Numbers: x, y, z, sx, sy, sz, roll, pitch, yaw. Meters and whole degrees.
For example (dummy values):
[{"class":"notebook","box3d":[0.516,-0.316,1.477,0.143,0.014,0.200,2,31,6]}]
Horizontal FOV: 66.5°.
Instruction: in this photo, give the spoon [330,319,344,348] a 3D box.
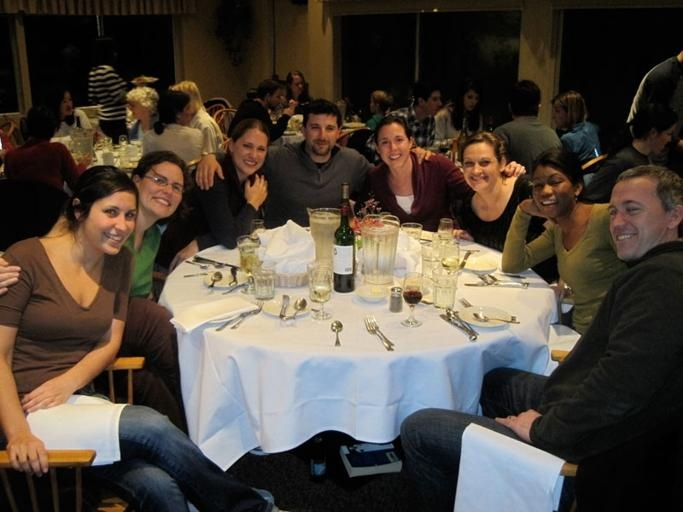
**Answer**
[{"class":"spoon","box3d":[-0.018,0.291,1.921,0.027,0.019,0.122,-1,25,-5]}]

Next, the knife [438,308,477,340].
[{"class":"knife","box3d":[0.451,0.253,1.995,0.050,0.015,0.179,-9,23,-18]}]

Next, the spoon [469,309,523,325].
[{"class":"spoon","box3d":[0.596,0.239,2.026,0.197,0.039,0.062,12,21,34]}]

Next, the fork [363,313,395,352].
[{"class":"fork","box3d":[0.137,0.288,1.924,0.041,0.034,0.218,-5,29,-12]}]

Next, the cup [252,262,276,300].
[{"class":"cup","box3d":[-0.325,0.102,2.185,0.113,0.178,0.121,1,10,0]}]

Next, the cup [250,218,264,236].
[{"class":"cup","box3d":[-0.421,-0.148,2.612,0.080,0.124,0.082,1,3,0]}]

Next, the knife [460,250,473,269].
[{"class":"knife","box3d":[0.628,0.008,2.613,0.038,0.024,0.285,-12,13,24]}]

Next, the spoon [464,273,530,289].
[{"class":"spoon","box3d":[0.725,0.118,2.402,0.174,0.028,0.124,4,7,8]}]

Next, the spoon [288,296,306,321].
[{"class":"spoon","box3d":[-0.171,0.210,2.077,0.030,0.023,0.135,12,26,3]}]

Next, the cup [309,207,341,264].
[{"class":"cup","box3d":[-0.073,-0.093,2.416,0.178,0.339,0.219,2,9,3]}]

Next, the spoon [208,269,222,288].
[{"class":"spoon","box3d":[-0.563,0.097,2.329,0.048,0.078,0.016,20,-17,22]}]
